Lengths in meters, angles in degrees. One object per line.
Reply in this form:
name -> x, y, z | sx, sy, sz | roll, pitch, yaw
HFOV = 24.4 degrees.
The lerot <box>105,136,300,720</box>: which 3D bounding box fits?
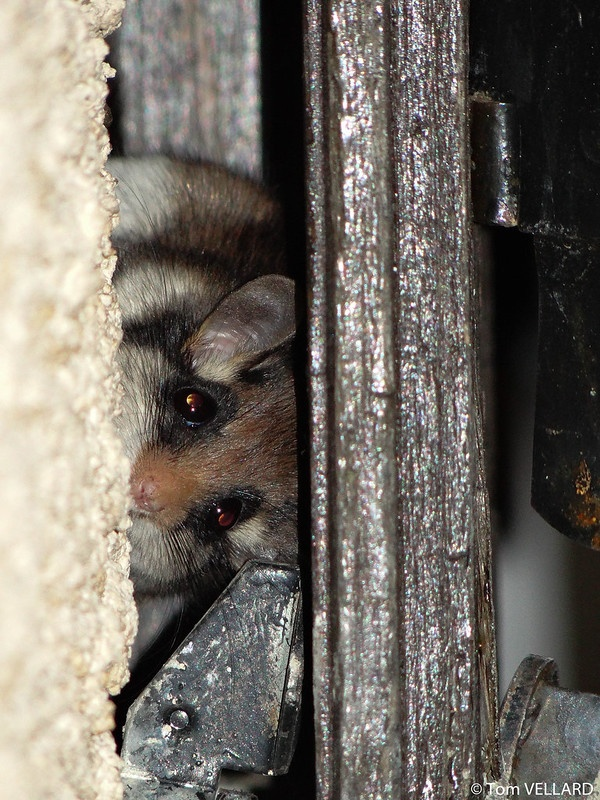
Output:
lerot -> -0.176, -0.035, 2.475 | 0.268, 0.399, 0.824 | 6, 54, -10
